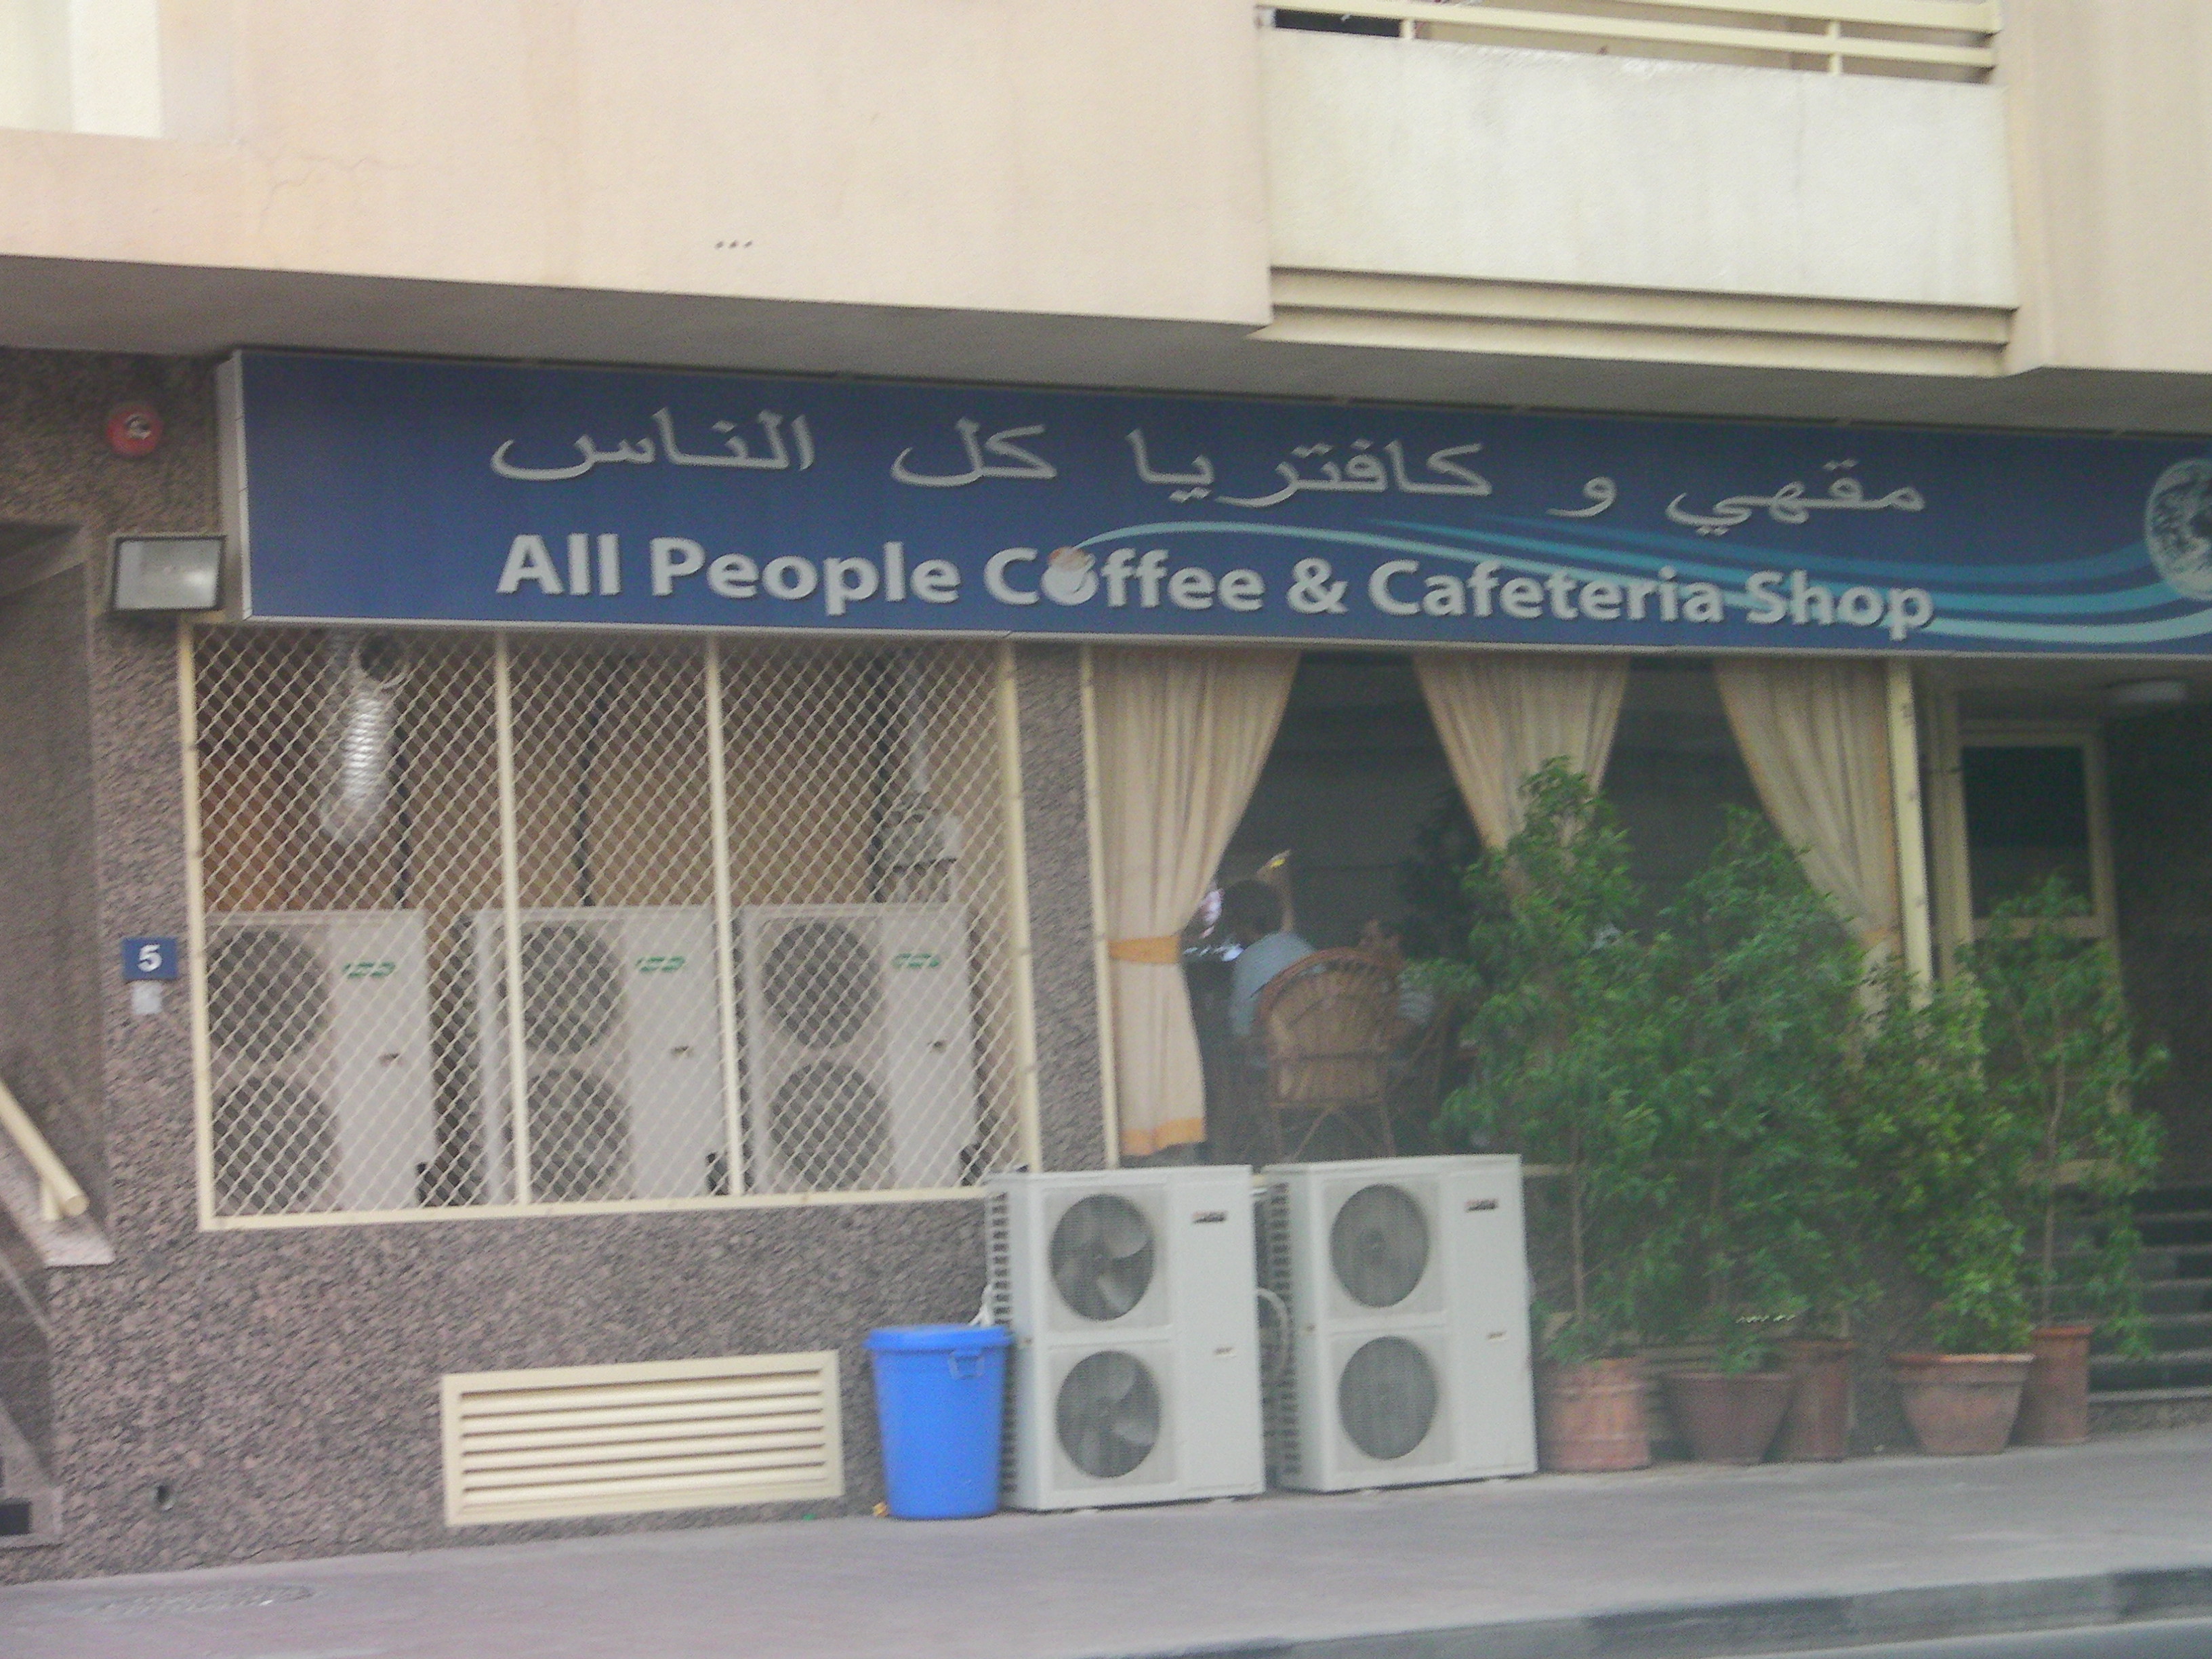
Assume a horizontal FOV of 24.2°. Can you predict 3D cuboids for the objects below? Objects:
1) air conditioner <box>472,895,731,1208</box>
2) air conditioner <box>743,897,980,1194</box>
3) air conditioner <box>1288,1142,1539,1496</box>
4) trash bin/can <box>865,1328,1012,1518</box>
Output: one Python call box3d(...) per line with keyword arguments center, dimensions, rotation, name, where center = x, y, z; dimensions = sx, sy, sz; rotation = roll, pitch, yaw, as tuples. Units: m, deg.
box3d(center=(-2.412, 1.072, 24.847), dimensions=(1.133, 1.401, 0.936), rotation=(0, 2, -27), name="air conditioner")
box3d(center=(-1.287, 1.058, 25.385), dimensions=(1.079, 1.396, 0.897), rotation=(0, 2, -24), name="air conditioner")
box3d(center=(1.446, 2.454, 25.076), dimensions=(1.687, 1.737, 0.659), rotation=(2, -9, -21), name="air conditioner")
box3d(center=(-0.820, 2.881, 24.690), dimensions=(0.842, 0.824, 0.846), rotation=(5, -13, -40), name="trash bin/can")
